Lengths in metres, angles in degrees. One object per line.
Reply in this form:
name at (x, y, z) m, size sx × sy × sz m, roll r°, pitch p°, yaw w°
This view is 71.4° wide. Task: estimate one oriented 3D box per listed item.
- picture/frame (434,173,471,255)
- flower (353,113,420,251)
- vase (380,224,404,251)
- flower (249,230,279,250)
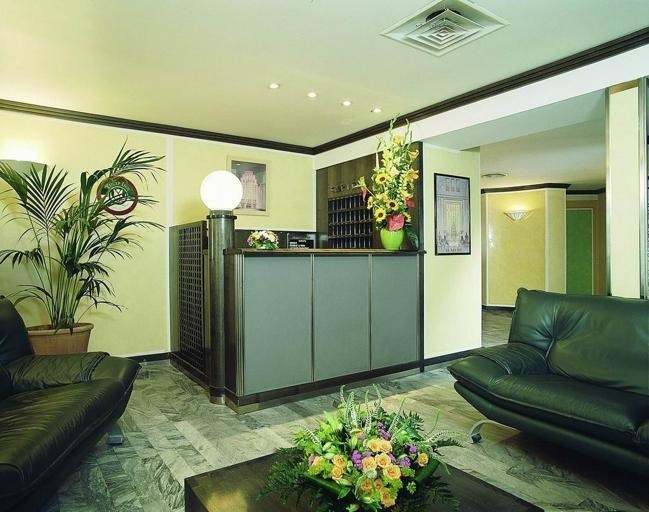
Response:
picture/frame at (1.503, -0.477, 5.259) m, size 0.628 × 0.937 × 0.083 m, roll -4°, pitch 7°, yaw -32°
flower at (0.713, -0.798, 4.919) m, size 0.653 × 1.462 × 0.806 m, roll 2°, pitch 6°, yaw 22°
vase at (0.724, -0.181, 4.772) m, size 0.228 × 0.242 × 0.225 m, roll -2°, pitch -4°, yaw 13°
flower at (-0.531, -0.146, 4.443) m, size 0.277 × 0.156 × 0.275 m, roll 4°, pitch -3°, yaw -43°
